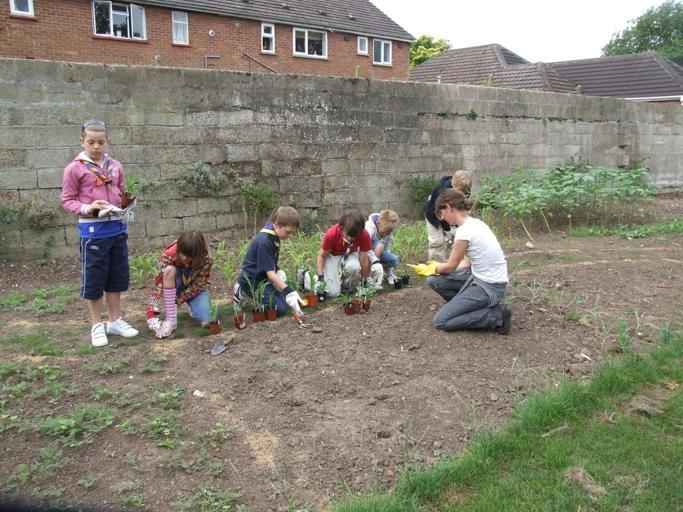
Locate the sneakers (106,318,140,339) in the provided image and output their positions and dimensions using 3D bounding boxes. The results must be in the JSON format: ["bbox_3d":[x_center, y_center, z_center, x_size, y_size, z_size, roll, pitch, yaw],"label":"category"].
[{"bbox_3d":[-2.068,0.681,5.352,0.333,0.161,0.139,2,15,5],"label":"sneakers"}]

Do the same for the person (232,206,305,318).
[{"bbox_3d":[-0.764,0.076,5.675,0.710,1.116,0.319,-3,5,-6],"label":"person"}]

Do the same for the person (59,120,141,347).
[{"bbox_3d":[-2.192,-0.206,5.140,0.569,2.027,0.453,-7,6,-38],"label":"person"}]

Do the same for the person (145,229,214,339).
[{"bbox_3d":[-1.530,0.202,5.468,0.604,0.937,0.920,13,21,7],"label":"person"}]

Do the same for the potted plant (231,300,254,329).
[{"bbox_3d":[-1.005,0.583,5.590,0.170,0.252,0.247,-3,11,-13],"label":"potted plant"}]

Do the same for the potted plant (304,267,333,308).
[{"bbox_3d":[-0.262,0.328,6.075,0.296,0.325,0.310,0,7,-5],"label":"potted plant"}]

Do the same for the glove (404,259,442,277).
[{"bbox_3d":[0.812,0.139,5.621,0.274,0.092,0.175,2,15,35],"label":"glove"}]

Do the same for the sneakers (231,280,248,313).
[{"bbox_3d":[-1.050,0.436,5.785,0.147,0.347,0.111,-16,6,13],"label":"sneakers"}]

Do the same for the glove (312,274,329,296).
[{"bbox_3d":[-0.231,0.331,6.111,0.181,0.141,0.183,0,-1,-11],"label":"glove"}]

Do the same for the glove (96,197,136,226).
[{"bbox_3d":[-2.016,-0.416,5.150,0.397,0.287,0.138,9,-5,-31],"label":"glove"}]

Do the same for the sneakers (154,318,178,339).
[{"bbox_3d":[-1.673,0.682,5.348,0.196,0.160,0.188,-5,5,-19],"label":"sneakers"}]

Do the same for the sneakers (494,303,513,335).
[{"bbox_3d":[1.510,0.587,5.324,0.098,0.324,0.140,7,12,7],"label":"sneakers"}]

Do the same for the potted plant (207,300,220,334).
[{"bbox_3d":[-1.262,0.588,5.531,0.127,0.276,0.410,-4,5,-13],"label":"potted plant"}]

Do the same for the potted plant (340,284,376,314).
[{"bbox_3d":[0.179,0.468,5.899,0.173,0.159,0.359,4,5,19],"label":"potted plant"}]

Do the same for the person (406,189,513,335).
[{"bbox_3d":[1.193,0.047,5.418,0.803,1.383,0.502,-1,5,16],"label":"person"}]

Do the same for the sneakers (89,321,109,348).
[{"bbox_3d":[-2.203,0.719,5.109,0.094,0.121,0.282,-3,7,-31],"label":"sneakers"}]

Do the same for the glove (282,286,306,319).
[{"bbox_3d":[-0.498,0.459,5.739,0.189,0.318,0.102,-24,-8,-37],"label":"glove"}]
